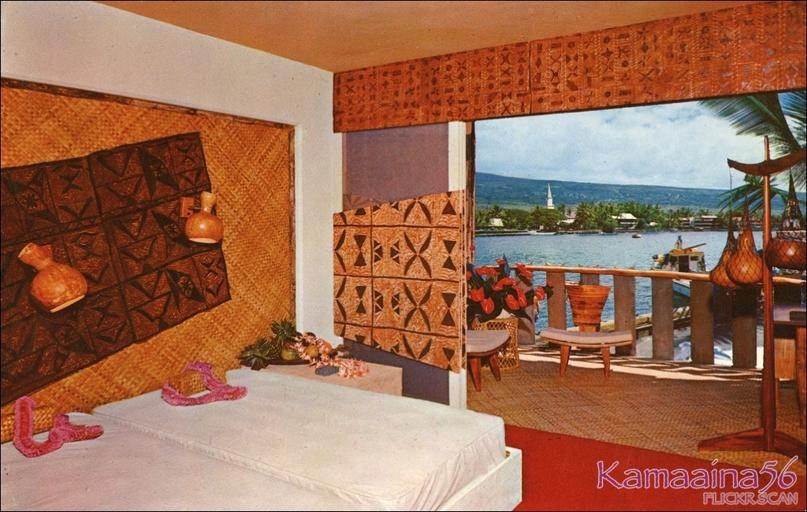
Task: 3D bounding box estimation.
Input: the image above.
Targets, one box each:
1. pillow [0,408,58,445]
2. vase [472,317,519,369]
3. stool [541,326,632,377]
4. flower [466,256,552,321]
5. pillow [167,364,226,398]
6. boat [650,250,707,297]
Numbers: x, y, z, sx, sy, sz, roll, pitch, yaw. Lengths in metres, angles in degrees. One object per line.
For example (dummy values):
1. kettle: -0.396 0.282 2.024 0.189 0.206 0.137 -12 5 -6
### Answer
1. pillow: -2.479 1.100 3.457 0.263 0.090 0.321 7 39 -20
2. vase: 1.149 1.051 6.459 0.661 0.585 0.595 0 -4 -6
3. stool: 2.211 1.138 6.311 1.072 0.450 0.692 -1 -5 21
4. flower: 1.204 0.408 6.130 0.916 0.332 0.884 2 1 23
5. pillow: -1.551 0.923 3.926 0.271 0.096 0.267 0 0 33
6. boat: 4.356 0.261 8.266 0.743 0.533 1.273 -1 4 -5
